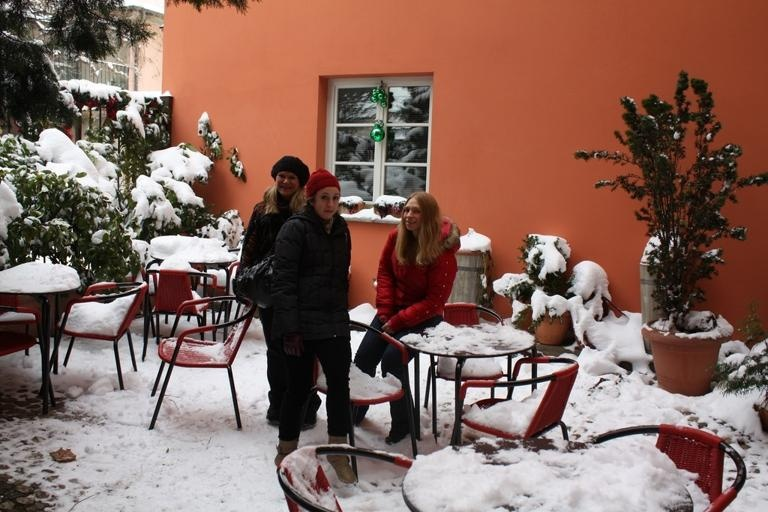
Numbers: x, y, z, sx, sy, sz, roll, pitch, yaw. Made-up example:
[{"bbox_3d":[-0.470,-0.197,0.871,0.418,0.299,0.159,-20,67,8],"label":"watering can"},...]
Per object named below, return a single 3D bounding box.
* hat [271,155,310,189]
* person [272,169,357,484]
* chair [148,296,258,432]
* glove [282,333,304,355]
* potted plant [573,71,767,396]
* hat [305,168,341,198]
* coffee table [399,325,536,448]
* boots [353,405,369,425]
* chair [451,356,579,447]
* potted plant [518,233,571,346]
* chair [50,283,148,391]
[{"bbox_3d":[-0.784,-0.713,5.430,0.225,0.245,0.302,8,2,10],"label":"hat"},{"bbox_3d":[-0.527,0.508,4.786,0.675,2.339,0.335,4,4,-9],"label":"person"},{"bbox_3d":[-1.684,0.778,5.957,1.084,1.496,1.125,7,7,-16],"label":"chair"},{"bbox_3d":[-0.675,0.655,4.649,0.145,0.154,0.075,4,4,-10],"label":"glove"},{"bbox_3d":[3.089,-0.388,6.660,2.151,2.766,2.390,6,4,17],"label":"potted plant"},{"bbox_3d":[-0.486,-0.560,4.878,0.214,0.199,0.220,5,6,36],"label":"hat"},{"bbox_3d":[0.647,0.877,5.068,0.916,0.791,0.930,-1,5,-28],"label":"coffee table"},{"bbox_3d":[-0.215,1.418,5.510,0.136,0.197,0.192,4,15,-5],"label":"boots"},{"bbox_3d":[0.999,1.103,4.757,0.757,0.643,0.701,5,7,40],"label":"chair"},{"bbox_3d":[2.003,0.409,7.675,0.649,0.882,0.765,6,4,12],"label":"potted plant"},{"bbox_3d":[-2.824,0.814,6.523,0.935,1.300,1.024,8,4,-12],"label":"chair"}]
